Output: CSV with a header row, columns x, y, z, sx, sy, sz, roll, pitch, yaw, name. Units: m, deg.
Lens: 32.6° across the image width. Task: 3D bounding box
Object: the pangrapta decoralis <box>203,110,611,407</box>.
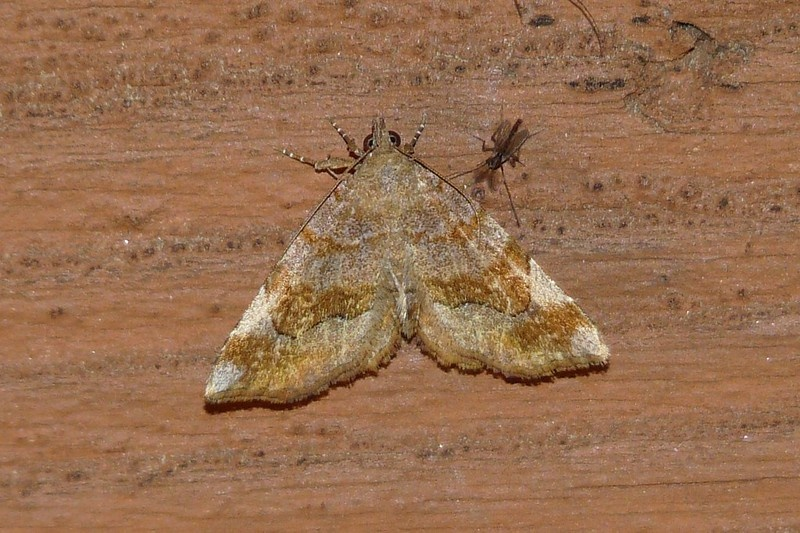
x,y,z,sx,sy,sz,roll,pitch,yaw,name
-0.031,0.214,16.274,4.186,2.312,1.658,-1,37,-5,pangrapta decoralis
